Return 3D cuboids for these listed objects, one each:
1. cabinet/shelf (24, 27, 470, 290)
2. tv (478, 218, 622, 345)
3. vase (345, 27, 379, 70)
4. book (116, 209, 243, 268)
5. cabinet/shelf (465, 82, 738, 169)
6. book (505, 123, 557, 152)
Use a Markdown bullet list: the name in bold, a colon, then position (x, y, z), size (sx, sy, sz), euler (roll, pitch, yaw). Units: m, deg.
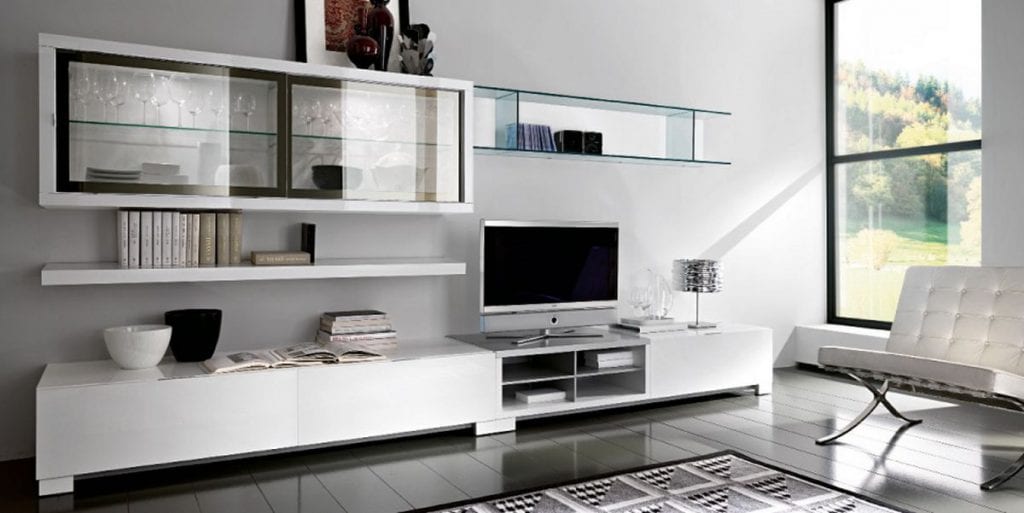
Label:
- **cabinet/shelf**: position (-2.365, -0.877, 5.417), size (2.997, 1.231, 0.447), euler (0, -4, -23)
- **tv**: position (0.308, 0.267, 6.238), size (1.514, 0.865, 0.180), euler (-1, 3, -20)
- **vase**: position (-1.377, -1.879, 5.827), size (0.304, 0.303, 0.309), euler (17, 25, 34)
- **book**: position (-2.759, -0.152, 5.341), size (0.931, 0.482, 0.235), euler (-3, 8, -22)
- **cabinet/shelf**: position (0.977, -1.313, 6.542), size (2.857, 0.463, 0.405), euler (2, 2, -14)
- **book**: position (0.160, -1.150, 6.222), size (0.407, 0.178, 0.150), euler (0, 0, -28)
